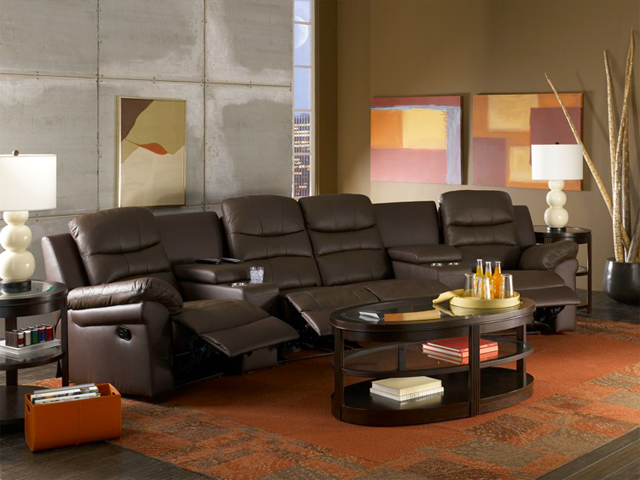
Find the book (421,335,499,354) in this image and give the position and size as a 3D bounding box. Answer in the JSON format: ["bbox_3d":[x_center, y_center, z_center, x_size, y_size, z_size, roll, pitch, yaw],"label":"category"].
[{"bbox_3d":[0.874,0.659,3.571,0.236,0.029,0.235,-1,2,-35],"label":"book"}]

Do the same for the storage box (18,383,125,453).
[{"bbox_3d":[-1.338,0.960,3.042,0.461,0.216,0.252,5,1,-42],"label":"storage box"}]

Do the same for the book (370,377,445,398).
[{"bbox_3d":[0.545,0.874,3.385,0.224,0.044,0.223,-1,0,-38],"label":"book"}]

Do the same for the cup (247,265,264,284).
[{"bbox_3d":[-0.474,0.284,4.578,0.150,0.130,0.135,1,-3,2],"label":"cup"}]

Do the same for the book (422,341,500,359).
[{"bbox_3d":[0.904,0.698,3.592,0.227,0.038,0.210,-1,3,-32],"label":"book"}]

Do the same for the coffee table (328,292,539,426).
[{"bbox_3d":[0.763,0.748,3.619,1.450,0.533,0.702,-3,2,-22],"label":"coffee table"}]
